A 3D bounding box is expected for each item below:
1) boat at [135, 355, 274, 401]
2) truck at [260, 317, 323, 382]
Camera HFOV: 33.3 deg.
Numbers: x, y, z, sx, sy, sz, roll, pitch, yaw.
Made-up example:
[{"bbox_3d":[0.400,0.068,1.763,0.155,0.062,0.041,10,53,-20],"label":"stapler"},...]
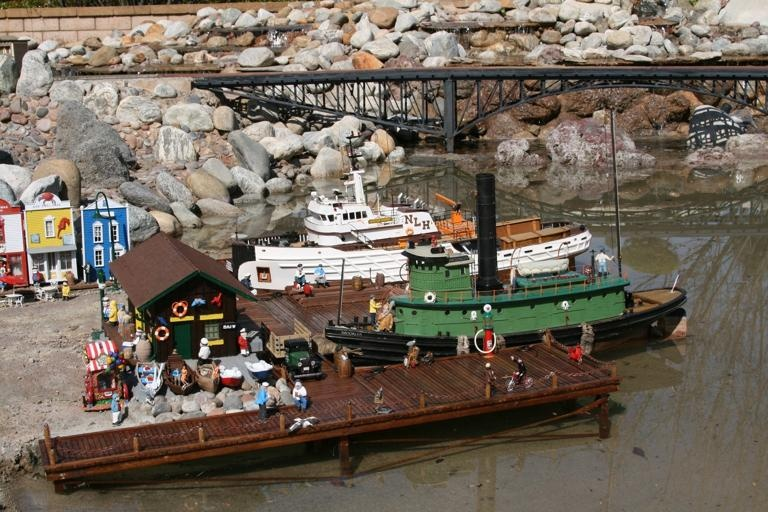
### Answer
[{"bbox_3d":[-11.704,7.219,77.912,6.498,2.253,2.055,-5,6,-8],"label":"boat"},{"bbox_3d":[-5.876,5.823,80.548,3.361,3.085,6.095,-7,6,-13],"label":"truck"}]
